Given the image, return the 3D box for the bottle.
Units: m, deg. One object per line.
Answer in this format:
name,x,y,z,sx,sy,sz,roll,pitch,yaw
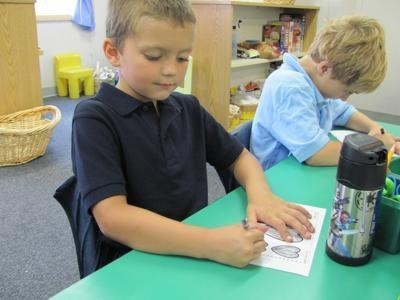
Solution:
bottle,0.328,0.118,0.668,0.092,0.282,0.052,8,22,17
